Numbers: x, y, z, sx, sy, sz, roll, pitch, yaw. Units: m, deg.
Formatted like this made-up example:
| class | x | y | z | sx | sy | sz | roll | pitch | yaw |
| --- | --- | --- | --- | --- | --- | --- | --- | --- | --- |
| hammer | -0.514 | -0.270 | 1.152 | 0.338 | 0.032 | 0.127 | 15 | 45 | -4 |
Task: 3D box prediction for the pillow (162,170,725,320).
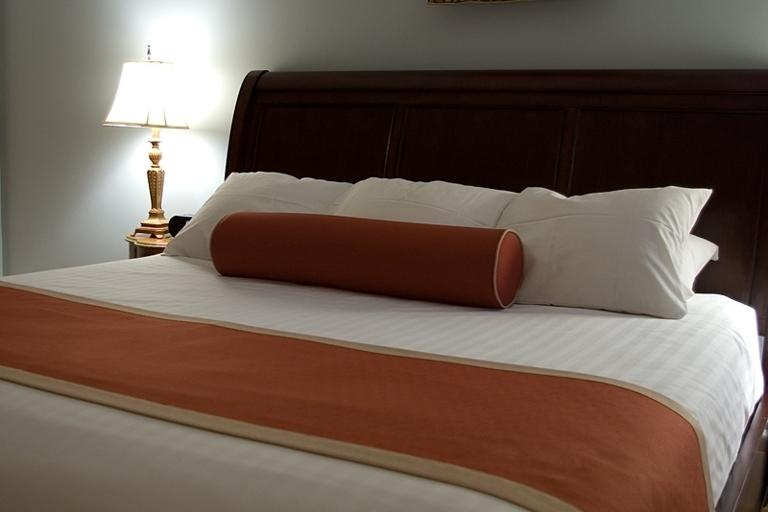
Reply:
| class | x | y | z | sx | sy | sz | roll | pitch | yaw |
| --- | --- | --- | --- | --- | --- | --- | --- | --- | --- |
| pillow | 0.275 | -0.105 | 2.215 | 1.750 | 0.416 | 0.394 | 7 | 14 | 21 |
